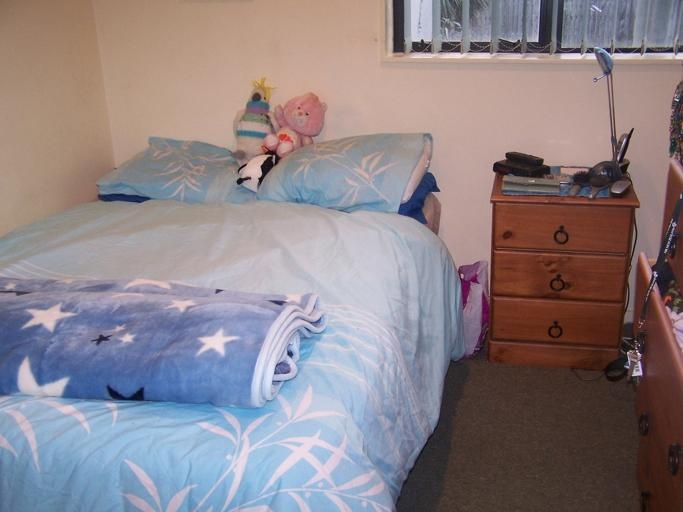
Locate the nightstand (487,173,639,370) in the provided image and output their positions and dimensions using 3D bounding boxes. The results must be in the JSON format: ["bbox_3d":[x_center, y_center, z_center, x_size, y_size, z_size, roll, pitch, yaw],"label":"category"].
[{"bbox_3d":[1.041,0.053,2.781,0.603,0.838,0.577,4,23,21],"label":"nightstand"}]

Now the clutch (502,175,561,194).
[{"bbox_3d":[0.832,-0.308,2.497,0.143,0.039,0.136,5,24,11],"label":"clutch"}]

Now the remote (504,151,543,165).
[{"bbox_3d":[0.859,-0.458,2.678,0.122,0.044,0.160,-2,18,-12],"label":"remote"}]

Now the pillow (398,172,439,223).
[{"bbox_3d":[0.384,-0.297,2.702,0.072,0.188,0.283,5,57,41],"label":"pillow"}]

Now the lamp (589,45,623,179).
[{"bbox_3d":[1.211,-0.687,2.576,0.163,0.511,0.460,9,19,24],"label":"lamp"}]

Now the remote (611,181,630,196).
[{"bbox_3d":[1.189,-0.289,2.428,0.059,0.063,0.119,14,21,34],"label":"remote"}]

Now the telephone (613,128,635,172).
[{"bbox_3d":[1.267,-0.467,2.571,0.058,0.196,0.115,-15,27,-18],"label":"telephone"}]

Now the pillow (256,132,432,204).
[{"bbox_3d":[0.035,-0.388,2.630,0.495,0.152,0.471,5,39,16],"label":"pillow"}]
